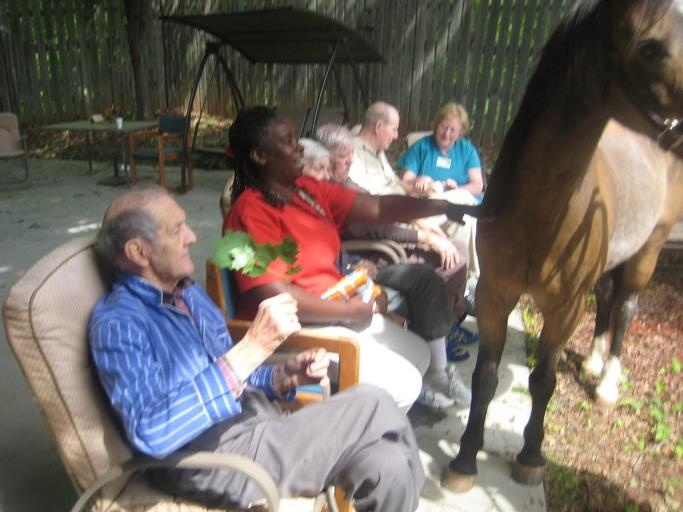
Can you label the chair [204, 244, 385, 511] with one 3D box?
[{"bbox_3d":[-0.247,0.323,2.585,0.672,1.374,0.805,2,9,13],"label":"chair"}]
